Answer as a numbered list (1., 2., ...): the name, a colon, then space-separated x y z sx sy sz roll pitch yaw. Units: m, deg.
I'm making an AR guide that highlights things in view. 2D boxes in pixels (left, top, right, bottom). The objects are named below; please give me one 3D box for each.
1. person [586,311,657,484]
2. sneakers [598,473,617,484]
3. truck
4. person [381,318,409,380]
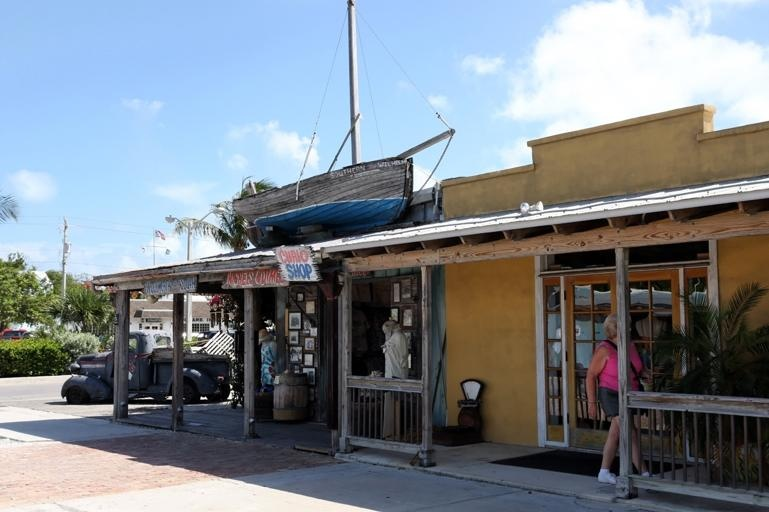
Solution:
1. person: 3.331 2.021 10.698 0.640 2.382 1.017 5 -10 -25
2. sneakers: 3.152 3.145 10.606 0.285 0.192 0.096 -5 -6 41
3. truck: -6.280 3.247 21.136 5.198 2.275 2.109 1 -9 9
4. person: 0.192 1.604 13.021 0.419 1.025 0.598 1 -10 -1
